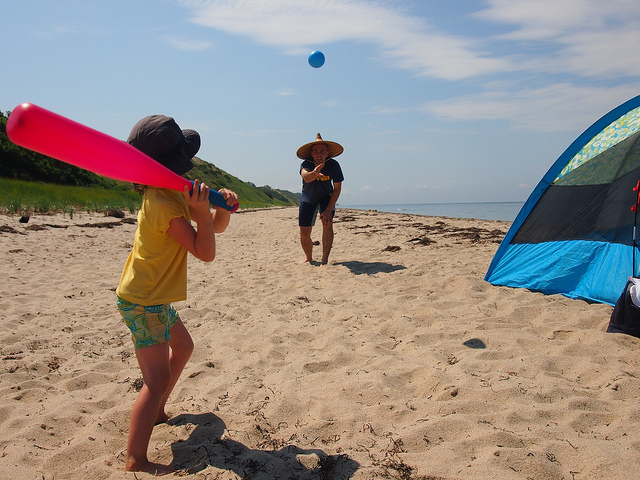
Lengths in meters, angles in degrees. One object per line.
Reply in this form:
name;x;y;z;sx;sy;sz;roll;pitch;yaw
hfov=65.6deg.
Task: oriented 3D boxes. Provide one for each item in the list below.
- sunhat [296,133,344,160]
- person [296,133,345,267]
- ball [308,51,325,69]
sunhat;-0.014;-1.415;7.679;0.694;0.385;0.497;-2;15;-1
person;-0.014;-0.566;7.776;0.774;2.073;0.863;-2;14;2
ball;-0.051;-2.615;7.254;0.201;0.246;0.701;-3;15;-1
